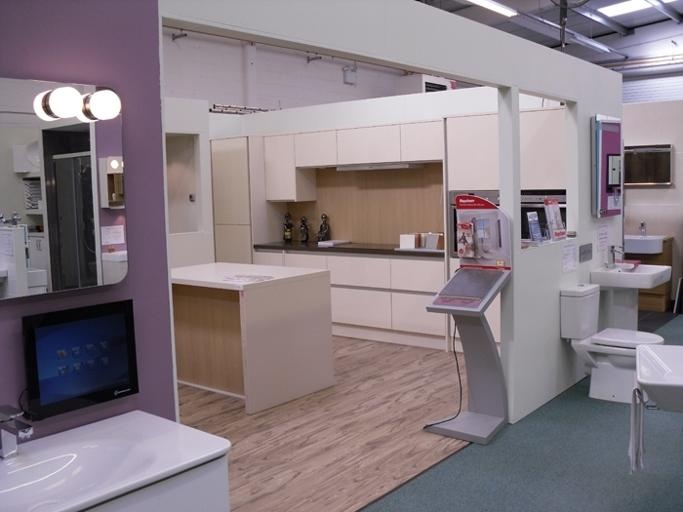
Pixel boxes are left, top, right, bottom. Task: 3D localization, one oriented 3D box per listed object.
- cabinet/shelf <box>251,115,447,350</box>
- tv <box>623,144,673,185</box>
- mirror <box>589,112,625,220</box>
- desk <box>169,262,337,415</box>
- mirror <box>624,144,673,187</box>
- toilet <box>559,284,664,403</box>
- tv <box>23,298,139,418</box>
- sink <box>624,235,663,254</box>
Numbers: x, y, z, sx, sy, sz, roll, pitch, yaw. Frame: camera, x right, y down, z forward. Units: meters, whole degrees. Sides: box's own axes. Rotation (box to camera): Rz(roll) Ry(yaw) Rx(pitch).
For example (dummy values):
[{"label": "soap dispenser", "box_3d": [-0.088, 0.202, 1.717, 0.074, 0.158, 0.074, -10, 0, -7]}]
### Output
[{"label": "cabinet/shelf", "box_3d": [0.159, -0.293, 6.124, 2.702, 2.656, 0.826, 1, 1, 34]}, {"label": "tv", "box_3d": [4.475, -1.330, 7.518, 0.810, 0.748, 0.279, 3, 5, 39]}, {"label": "mirror", "box_3d": [2.524, -0.867, 4.962, 0.139, 1.216, 0.995, 2, 5, 37]}, {"label": "desk", "box_3d": [-0.905, 0.755, 5.115, 1.046, 1.097, 1.485, -4, 1, -42]}, {"label": "mirror", "box_3d": [4.504, -1.323, 7.554, 0.779, 0.710, 0.266, 3, 4, 39]}, {"label": "toilet", "box_3d": [2.392, 0.759, 4.509, 0.482, 0.932, 0.791, -8, 5, -39]}, {"label": "tv", "box_3d": [-1.031, 0.391, 2.020, 0.104, 0.417, 0.456, -3, 1, 45]}, {"label": "sink", "box_3d": [4.260, -0.153, 7.298, 0.351, 0.165, 0.403, 1, 5, 40]}]
